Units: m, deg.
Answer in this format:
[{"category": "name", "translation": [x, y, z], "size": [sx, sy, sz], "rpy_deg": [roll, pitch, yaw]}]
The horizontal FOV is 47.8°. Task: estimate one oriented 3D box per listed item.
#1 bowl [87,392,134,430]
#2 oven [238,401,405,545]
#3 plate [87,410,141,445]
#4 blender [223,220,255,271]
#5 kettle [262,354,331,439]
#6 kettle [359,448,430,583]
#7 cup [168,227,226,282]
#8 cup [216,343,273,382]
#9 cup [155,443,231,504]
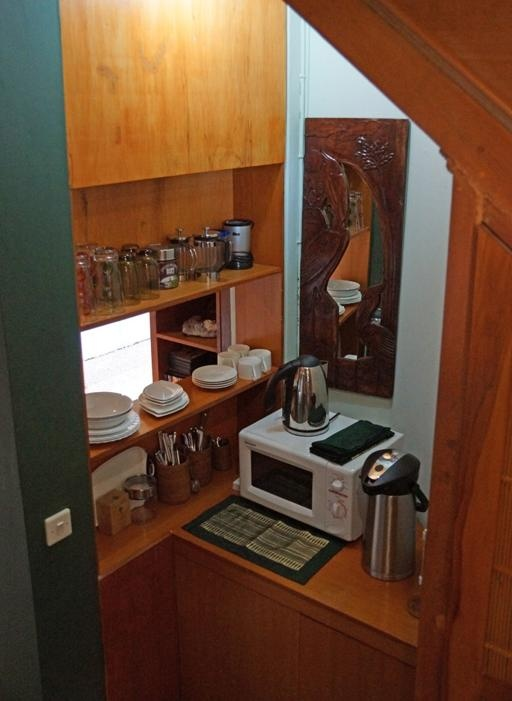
[{"category": "bowl", "translation": [-0.469, 0.183, 1.796], "size": [0.112, 0.030, 0.115], "rpy_deg": [6, 24, -3]}, {"category": "oven", "translation": [0.204, 0.416, 2.106], "size": [0.473, 0.284, 0.369], "rpy_deg": [14, 26, 35]}, {"category": "plate", "translation": [-0.425, 0.237, 1.795], "size": [0.090, 0.076, 0.217], "rpy_deg": [3, 11, 21]}, {"category": "blender", "translation": [-0.065, -0.414, 2.255], "size": [0.133, 0.170, 0.123], "rpy_deg": [6, 22, 8]}, {"category": "kettle", "translation": [0.148, 0.131, 2.081], "size": [0.289, 0.306, 0.188], "rpy_deg": [-13, 23, -15]}, {"category": "kettle", "translation": [0.416, 0.510, 1.758], "size": [0.196, 0.390, 0.211], "rpy_deg": [2, 10, 14]}, {"category": "cup", "translation": [-0.198, -0.338, 2.032], "size": [0.227, 0.206, 0.128], "rpy_deg": [11, 22, 27]}, {"category": "cup", "translation": [-0.042, 0.046, 2.296], "size": [0.114, 0.075, 0.199], "rpy_deg": [-1, 16, -8]}, {"category": "cup", "translation": [-0.248, 0.471, 2.219], "size": [0.129, 0.168, 0.244], "rpy_deg": [4, 10, 29]}]
